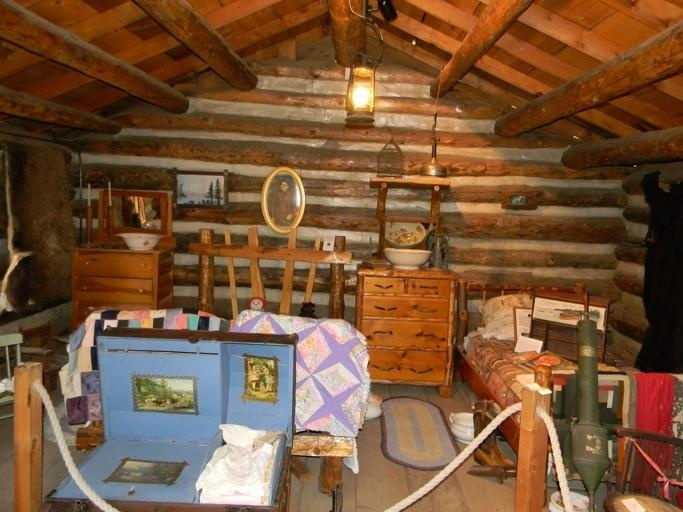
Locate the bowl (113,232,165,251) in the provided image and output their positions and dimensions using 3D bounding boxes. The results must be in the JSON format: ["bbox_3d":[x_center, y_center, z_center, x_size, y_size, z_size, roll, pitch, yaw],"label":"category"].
[{"bbox_3d":[-2.509,-0.180,6.540,0.470,0.238,0.281,1,-2,-19],"label":"bowl"}]

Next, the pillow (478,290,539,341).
[{"bbox_3d":[1.945,0.736,6.411,0.635,0.559,0.185,-17,-52,26],"label":"pillow"}]

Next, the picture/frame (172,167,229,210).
[{"bbox_3d":[-1.882,-0.893,7.087,0.902,0.491,0.073,5,10,25],"label":"picture/frame"}]

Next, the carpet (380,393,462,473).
[{"bbox_3d":[0.793,1.853,5.390,0.764,0.319,1.001,1,-2,3],"label":"carpet"}]

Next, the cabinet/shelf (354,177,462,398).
[{"bbox_3d":[0.822,0.338,6.391,1.161,2.649,0.759,1,-1,8],"label":"cabinet/shelf"}]

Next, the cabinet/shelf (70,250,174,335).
[{"bbox_3d":[-2.469,0.372,5.835,1.452,1.030,0.717,0,1,0],"label":"cabinet/shelf"}]

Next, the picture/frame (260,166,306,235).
[{"bbox_3d":[-0.715,-0.694,6.430,0.465,0.762,0.145,0,-1,21],"label":"picture/frame"}]

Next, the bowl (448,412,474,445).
[{"bbox_3d":[1.257,1.754,5.476,0.409,0.190,0.312,2,7,7],"label":"bowl"}]

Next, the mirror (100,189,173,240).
[{"bbox_3d":[-2.741,-0.584,7.041,0.106,0.611,1.077,5,6,31],"label":"mirror"}]
